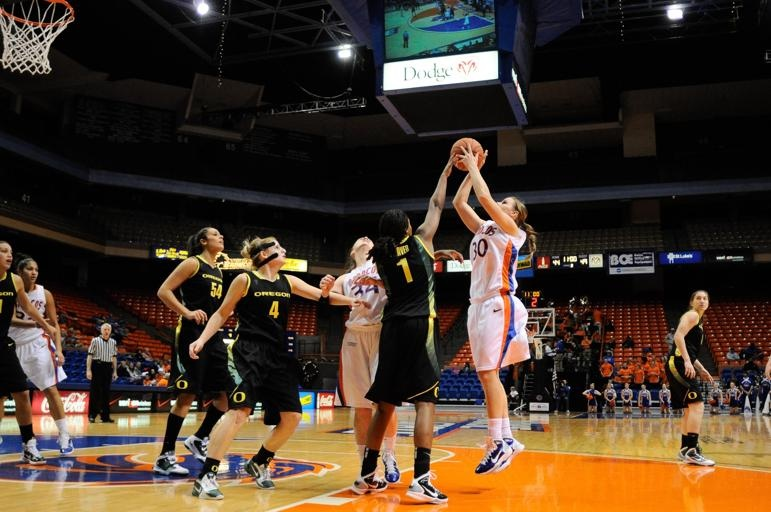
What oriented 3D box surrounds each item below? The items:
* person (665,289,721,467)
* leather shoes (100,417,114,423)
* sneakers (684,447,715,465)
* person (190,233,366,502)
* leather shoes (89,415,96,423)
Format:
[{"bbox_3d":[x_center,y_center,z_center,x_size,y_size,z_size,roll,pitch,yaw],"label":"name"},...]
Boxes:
[{"bbox_3d":[4.988,1.942,10.572,0.720,2.822,1.139,-5,-16,25],"label":"person"},{"bbox_3d":[-6.652,3.923,15.366,0.259,0.160,0.254,-2,-16,-35],"label":"leather shoes"},{"bbox_3d":[4.807,3.114,10.011,0.525,0.250,0.190,2,-6,19],"label":"sneakers"},{"bbox_3d":[-1.718,1.423,8.562,1.351,3.407,0.536,5,-15,-15],"label":"person"},{"bbox_3d":[-6.904,3.851,15.177,0.130,0.154,0.275,8,-16,-23],"label":"leather shoes"}]
